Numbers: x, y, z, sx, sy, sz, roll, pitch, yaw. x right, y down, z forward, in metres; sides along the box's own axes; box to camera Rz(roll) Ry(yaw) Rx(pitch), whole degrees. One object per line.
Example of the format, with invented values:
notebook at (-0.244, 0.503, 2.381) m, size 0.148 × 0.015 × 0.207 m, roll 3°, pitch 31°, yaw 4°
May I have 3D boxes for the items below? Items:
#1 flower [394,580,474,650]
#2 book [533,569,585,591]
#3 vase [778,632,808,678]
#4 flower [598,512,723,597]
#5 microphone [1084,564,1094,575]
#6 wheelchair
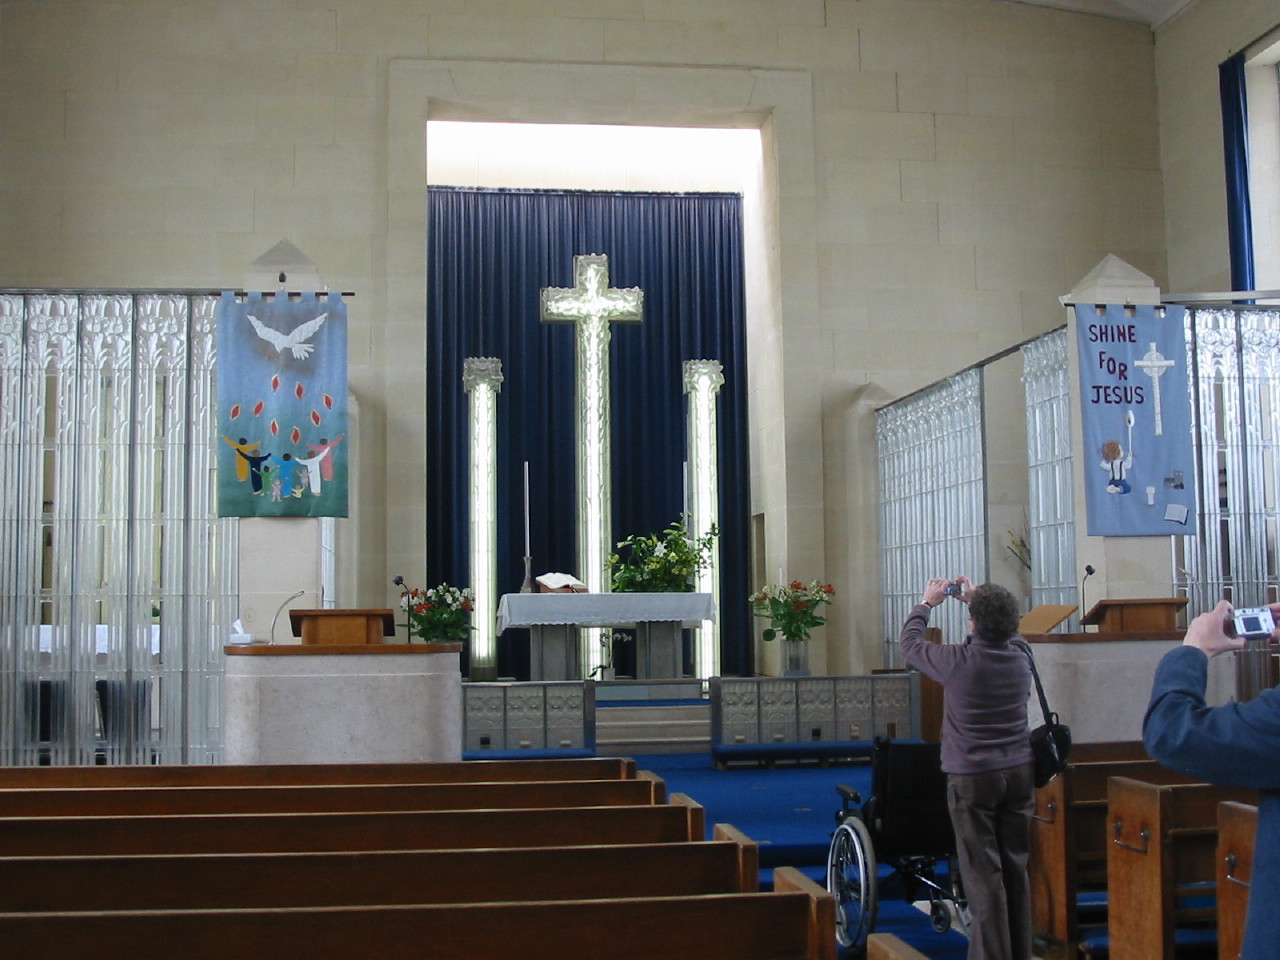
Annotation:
flower at (-1.827, 1.170, 16.687) m, size 0.724 × 0.576 × 0.765 m, roll 1°, pitch -5°, yaw -14°
book at (-0.733, 0.918, 17.101) m, size 0.457 × 0.187 × 0.672 m, roll -2°, pitch -5°, yaw -4°
vase at (1.379, 1.566, 16.950) m, size 0.231 × 0.325 × 0.240 m, roll -2°, pitch -4°, yaw -2°
flower at (0.203, 0.722, 18.179) m, size 1.021 × 0.744 × 2.391 m, roll -2°, pitch -5°, yaw 0°
microphone at (3.403, 0.665, 14.346) m, size 0.021 × 0.062 × 0.087 m, roll -7°, pitch -10°, yaw 29°
wheelchair at (1.583, 2.285, 11.843) m, size 1.003 × 1.603 × 1.250 m, roll 3°, pitch -2°, yaw -12°
